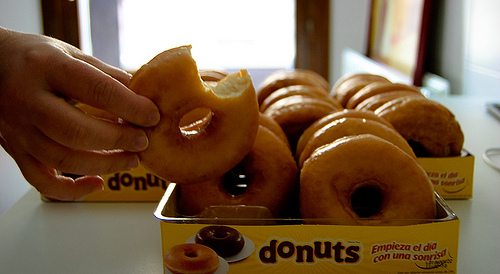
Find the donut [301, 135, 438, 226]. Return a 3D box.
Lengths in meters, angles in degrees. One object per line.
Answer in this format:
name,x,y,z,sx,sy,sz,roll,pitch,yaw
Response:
donut,0.350,0.150,1.217,0.402,0.237,0.222,-1,30,3

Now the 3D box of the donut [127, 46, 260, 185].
donut,-0.182,-0.036,1.198,0.406,0.376,0.136,6,31,-34
